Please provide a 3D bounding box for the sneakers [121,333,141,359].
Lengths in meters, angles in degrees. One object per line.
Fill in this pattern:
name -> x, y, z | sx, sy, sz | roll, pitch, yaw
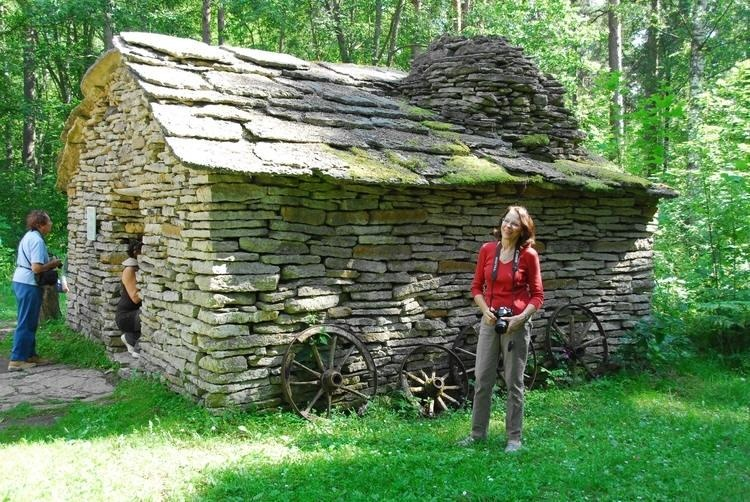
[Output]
sneakers -> -4.614, 1.791, 11.993 | 0.208, 0.456, 0.167 | -26, 9, 17

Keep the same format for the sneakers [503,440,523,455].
sneakers -> 1.989, 2.803, 9.082 | 0.127, 0.112, 0.245 | 8, 8, 34

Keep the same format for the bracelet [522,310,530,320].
bracelet -> 2.151, 0.906, 8.956 | 0.131, 0.089, 0.127 | 10, -10, -3

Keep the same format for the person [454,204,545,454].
person -> 1.862, 1.120, 9.186 | 0.992, 3.424, 1.003 | 5, 16, 10

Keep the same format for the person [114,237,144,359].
person -> -4.585, 0.925, 11.846 | 0.541, 2.157, 0.882 | -4, 16, -20

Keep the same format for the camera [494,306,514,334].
camera -> 1.811, 0.976, 8.958 | 0.208, 0.267, 0.346 | -19, 25, 33
